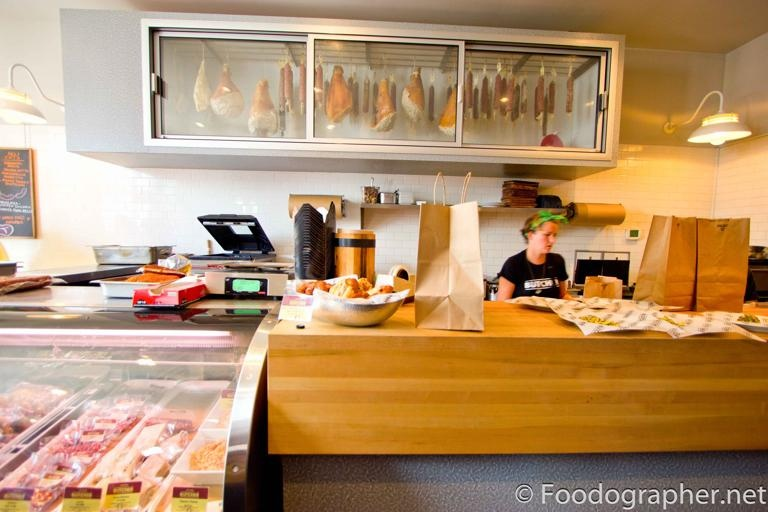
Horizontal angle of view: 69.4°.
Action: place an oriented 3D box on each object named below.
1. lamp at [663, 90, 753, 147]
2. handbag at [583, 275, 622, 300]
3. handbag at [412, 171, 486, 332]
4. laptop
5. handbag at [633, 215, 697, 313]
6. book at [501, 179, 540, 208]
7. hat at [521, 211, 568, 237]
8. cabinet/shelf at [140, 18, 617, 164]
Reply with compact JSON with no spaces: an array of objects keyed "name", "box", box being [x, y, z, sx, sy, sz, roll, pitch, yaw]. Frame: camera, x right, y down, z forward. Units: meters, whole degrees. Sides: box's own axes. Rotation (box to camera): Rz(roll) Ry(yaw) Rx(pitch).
[{"name":"lamp","box":[2.935,-1.223,5.020,0.509,0.456,0.876,0,1,-6]},{"name":"handbag","box":[1.737,0.252,4.392,0.315,0.231,0.307,-3,-4,30]},{"name":"handbag","box":[0.353,-0.020,3.107,0.377,0.877,0.197,-3,8,7]},{"name":"laptop","box":[-1.155,-0.144,4.450,0.538,0.291,0.455,1,4,8]},{"name":"handbag","box":[1.654,0.042,3.258,0.337,0.552,0.140,-1,9,20]},{"name":"book","box":[1.296,-0.576,5.244,0.332,0.202,0.294,-1,1,8]},{"name":"hat","box":[1.277,-0.248,4.528,0.350,0.222,0.230,0,8,25]},{"name":"cabinet/shelf","box":[-0.011,-1.391,4.982,4.080,0.976,0.529,1,9,-3]}]
